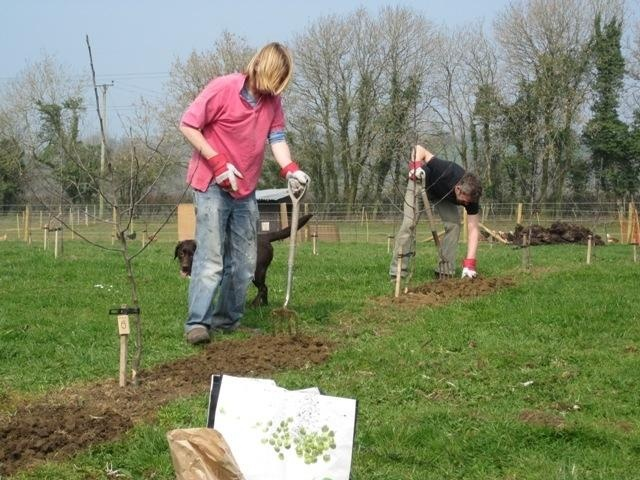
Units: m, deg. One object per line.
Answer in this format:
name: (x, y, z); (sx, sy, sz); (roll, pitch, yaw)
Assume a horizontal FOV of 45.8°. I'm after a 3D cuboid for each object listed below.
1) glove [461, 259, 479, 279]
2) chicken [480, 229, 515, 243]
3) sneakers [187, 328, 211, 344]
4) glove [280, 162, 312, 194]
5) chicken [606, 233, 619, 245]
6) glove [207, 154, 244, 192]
glove: (2.427, 0.497, 12.245); (0.273, 0.455, 0.275); (5, -8, -19)
chicken: (5.998, -0.100, 25.802); (0.797, 0.103, 0.110); (34, 53, 25)
sneakers: (-1.543, 1.215, 9.596); (0.281, 0.229, 0.208); (1, 4, -14)
glove: (-0.294, -0.908, 10.209); (0.196, 0.452, 0.319); (-26, -12, -49)
chicken: (10.307, -0.016, 26.768); (0.295, 0.715, 1.125); (3, -1, 28)
glove: (-1.233, -0.850, 9.521); (0.364, 0.440, 0.126); (3, 3, 13)
